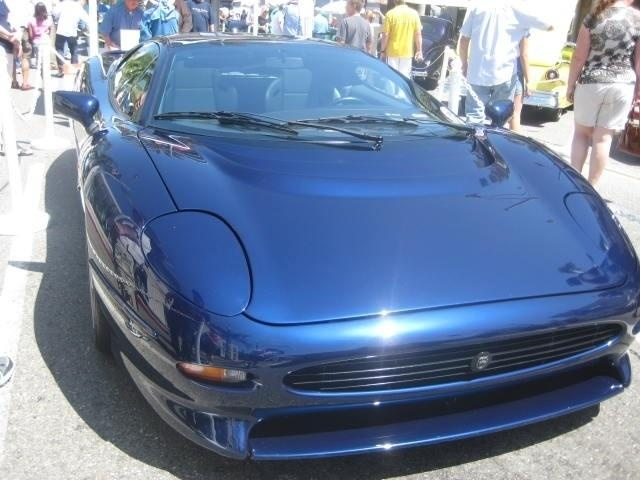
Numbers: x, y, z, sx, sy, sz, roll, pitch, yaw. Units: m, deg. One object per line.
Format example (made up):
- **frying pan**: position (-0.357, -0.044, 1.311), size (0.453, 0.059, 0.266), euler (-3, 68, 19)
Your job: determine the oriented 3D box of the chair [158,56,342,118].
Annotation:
- **chair**: position (-0.479, -0.905, 3.283), size (0.467, 0.223, 0.807), euler (-6, 28, -21)
